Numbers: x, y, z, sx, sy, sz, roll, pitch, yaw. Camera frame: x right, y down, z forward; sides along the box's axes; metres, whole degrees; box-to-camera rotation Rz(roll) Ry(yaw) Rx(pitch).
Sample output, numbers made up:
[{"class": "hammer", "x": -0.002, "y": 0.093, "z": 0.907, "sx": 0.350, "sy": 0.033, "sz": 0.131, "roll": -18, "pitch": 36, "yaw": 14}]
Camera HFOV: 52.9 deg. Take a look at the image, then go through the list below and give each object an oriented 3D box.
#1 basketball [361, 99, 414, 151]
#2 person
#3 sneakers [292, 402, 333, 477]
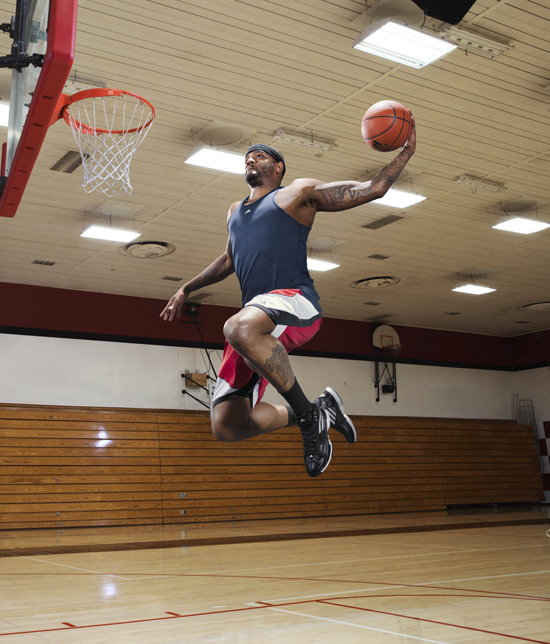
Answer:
[{"class": "basketball", "x": 0.474, "y": -0.829, "z": 2.307, "sx": 0.158, "sy": 0.246, "sz": 0.215, "roll": 2, "pitch": -1, "yaw": -22}, {"class": "person", "x": 0.114, "y": -0.076, "z": 2.517, "sx": 0.749, "sy": 1.484, "sz": 0.963, "roll": 2, "pitch": -1, "yaw": -10}, {"class": "sneakers", "x": 0.132, "y": 0.472, "z": 2.364, "sx": 0.130, "sy": 0.344, "sz": 0.170, "roll": -24, "pitch": -48, "yaw": 32}]
